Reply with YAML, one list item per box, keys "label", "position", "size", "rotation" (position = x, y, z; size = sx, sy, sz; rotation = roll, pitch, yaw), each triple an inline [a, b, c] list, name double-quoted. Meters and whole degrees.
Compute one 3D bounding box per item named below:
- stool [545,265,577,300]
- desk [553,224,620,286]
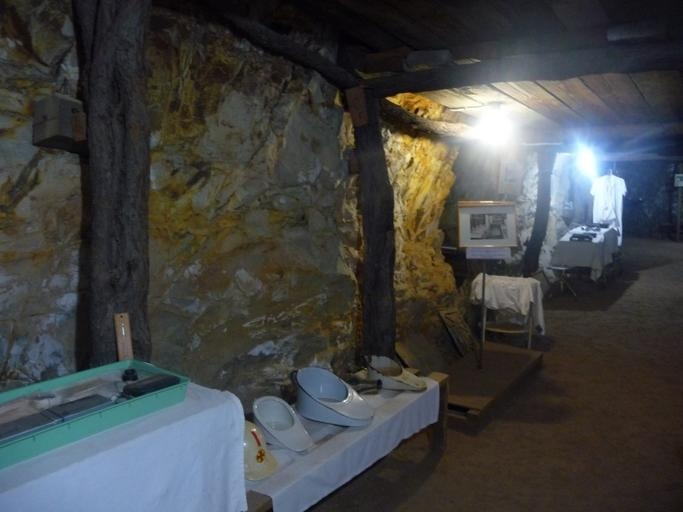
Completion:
- label: "stool"
  position: [4.243, 0.515, 9.304]
  size: [0.410, 0.466, 0.438]
  rotation: [-24, 12, -12]
- label: "desk"
  position: [4.927, -0.140, 9.547]
  size: [0.960, 0.588, 1.685]
  rotation: [0, 15, 33]
